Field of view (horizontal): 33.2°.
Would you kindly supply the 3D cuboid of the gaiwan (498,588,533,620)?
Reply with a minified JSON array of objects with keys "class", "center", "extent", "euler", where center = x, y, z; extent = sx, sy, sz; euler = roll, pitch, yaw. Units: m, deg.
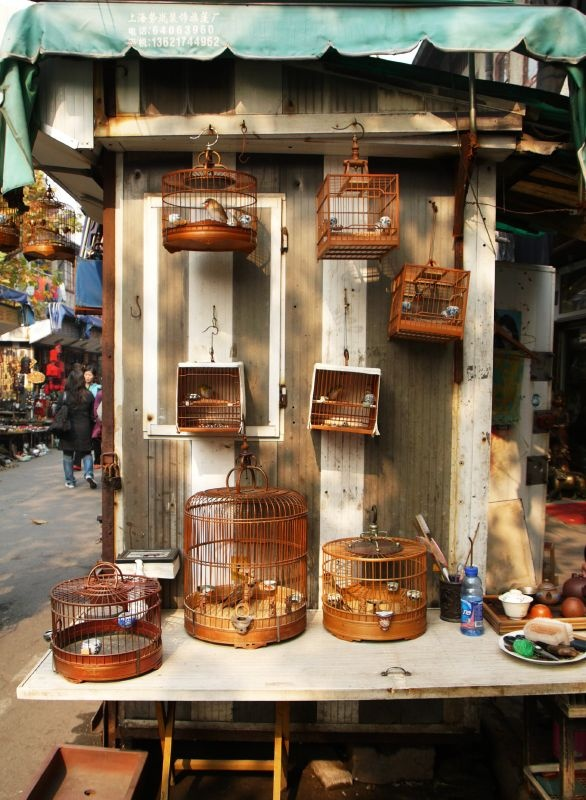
[{"class":"gaiwan","center":[1.107,1.025,4.919],"extent":[0.113,0.108,0.126],"euler":[0,-10,-1]}]

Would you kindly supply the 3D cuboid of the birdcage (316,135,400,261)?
[{"class":"birdcage","center":[0.330,-1.048,4.975],"extent":[0.311,0.588,0.587],"euler":[-2,7,-3]}]

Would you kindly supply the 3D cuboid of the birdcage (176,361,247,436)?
[{"class":"birdcage","center":[-0.435,-0.049,5.177],"extent":[0.338,0.406,0.274],"euler":[1,22,-5]}]

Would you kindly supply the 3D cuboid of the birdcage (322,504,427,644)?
[{"class":"birdcage","center":[0.381,0.857,4.965],"extent":[0.513,0.686,0.563],"euler":[0,1,-1]}]

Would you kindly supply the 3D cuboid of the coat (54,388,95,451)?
[{"class":"coat","center":[-2.454,0.275,11.029],"extent":[0.457,1.019,0.378],"euler":[2,17,-9]}]

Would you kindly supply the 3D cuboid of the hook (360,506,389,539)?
[{"class":"hook","center":[0.412,0.651,5.109],"extent":[0.136,0.188,0.160],"euler":[1,-16,-3]}]

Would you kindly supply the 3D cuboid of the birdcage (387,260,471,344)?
[{"class":"birdcage","center":[0.695,-0.514,5.077],"extent":[0.324,0.427,0.214],"euler":[4,-7,-7]}]

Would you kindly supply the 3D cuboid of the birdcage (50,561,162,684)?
[{"class":"birdcage","center":[-0.842,0.986,4.482],"extent":[0.431,0.497,0.408],"euler":[-7,13,-37]}]

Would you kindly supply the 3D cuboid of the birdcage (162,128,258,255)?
[{"class":"birdcage","center":[-0.421,-1.056,4.964],"extent":[0.392,0.597,0.444],"euler":[0,1,13]}]

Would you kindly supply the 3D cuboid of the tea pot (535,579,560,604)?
[{"class":"tea pot","center":[1.305,0.990,5.037],"extent":[0.092,0.102,0.101],"euler":[0,-11,0]}]

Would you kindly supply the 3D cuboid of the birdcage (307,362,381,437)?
[{"class":"birdcage","center":[0.247,0.001,5.118],"extent":[0.293,0.331,0.126],"euler":[5,-8,-4]}]

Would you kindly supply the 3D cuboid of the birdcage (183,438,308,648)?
[{"class":"birdcage","center":[-0.200,0.700,4.950],"extent":[0.519,0.858,0.559],"euler":[0,9,11]}]
